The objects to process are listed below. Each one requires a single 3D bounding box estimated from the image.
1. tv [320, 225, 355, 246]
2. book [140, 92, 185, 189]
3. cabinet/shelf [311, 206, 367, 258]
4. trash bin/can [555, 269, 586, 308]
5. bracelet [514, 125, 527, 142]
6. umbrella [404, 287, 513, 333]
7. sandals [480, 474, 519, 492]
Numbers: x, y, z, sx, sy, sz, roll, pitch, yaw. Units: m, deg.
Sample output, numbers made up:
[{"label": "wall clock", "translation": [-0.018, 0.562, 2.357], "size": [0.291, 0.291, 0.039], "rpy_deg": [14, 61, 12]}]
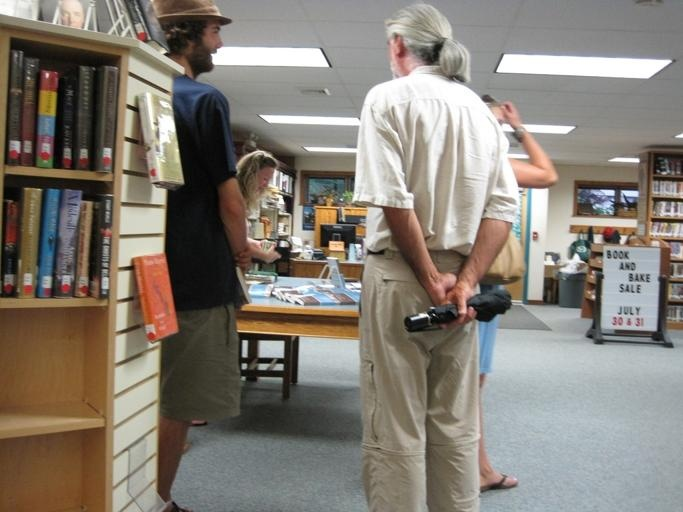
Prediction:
[{"label": "tv", "translation": [-0.100, -0.304, 8.077], "size": [0.400, 0.364, 0.683], "rpy_deg": [0, 5, -28]}, {"label": "book", "translation": [-0.566, -0.360, 1.698], "size": [0.065, 0.258, 0.204], "rpy_deg": [-8, -4, 37]}, {"label": "cabinet/shelf", "translation": [-0.018, -0.416, 8.541], "size": [1.132, 1.106, 0.450], "rpy_deg": [1, 23, 7]}, {"label": "trash bin/can", "translation": [4.187, 0.615, 9.771], "size": [0.605, 0.559, 0.580], "rpy_deg": [0, 3, 21]}, {"label": "bracelet", "translation": [0.814, -0.557, 2.438], "size": [0.033, 0.036, 0.091], "rpy_deg": [-2, 2, 6]}, {"label": "umbrella", "translation": [0.371, 0.175, 1.746], "size": [0.423, 0.115, 0.136], "rpy_deg": [-13, 9, -28]}, {"label": "sandals", "translation": [0.802, 1.149, 2.730], "size": [0.206, 0.055, 0.073], "rpy_deg": [-6, 6, -11]}]
